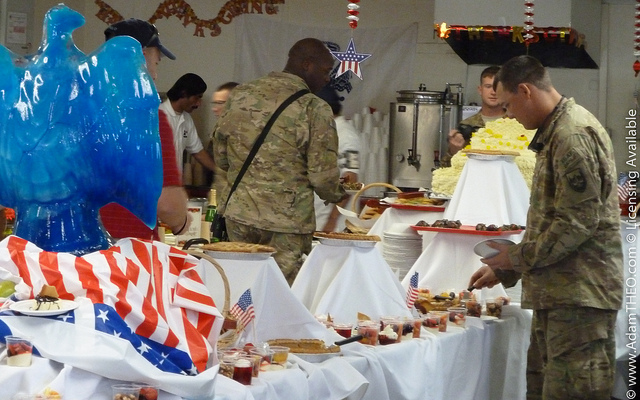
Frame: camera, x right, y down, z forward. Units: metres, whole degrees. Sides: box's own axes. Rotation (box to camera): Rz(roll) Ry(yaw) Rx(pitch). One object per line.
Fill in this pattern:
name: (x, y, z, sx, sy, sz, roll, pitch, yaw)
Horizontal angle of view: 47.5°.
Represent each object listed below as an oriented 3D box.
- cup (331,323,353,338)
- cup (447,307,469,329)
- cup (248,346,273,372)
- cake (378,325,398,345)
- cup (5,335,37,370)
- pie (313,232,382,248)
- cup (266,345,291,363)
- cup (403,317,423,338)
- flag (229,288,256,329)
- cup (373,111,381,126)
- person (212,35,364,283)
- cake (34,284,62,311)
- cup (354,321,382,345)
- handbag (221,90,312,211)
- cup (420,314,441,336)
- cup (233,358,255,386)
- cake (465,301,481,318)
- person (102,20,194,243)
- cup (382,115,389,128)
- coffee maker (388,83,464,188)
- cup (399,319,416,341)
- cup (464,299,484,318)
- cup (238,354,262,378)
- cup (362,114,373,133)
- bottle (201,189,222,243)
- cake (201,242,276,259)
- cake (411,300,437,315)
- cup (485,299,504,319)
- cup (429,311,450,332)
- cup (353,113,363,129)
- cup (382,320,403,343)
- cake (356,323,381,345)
cup: (0.110, 0.648, 3.589, 0.071, 0.042, 0.069, 0, 2, 0)
cup: (0.749, 0.642, 3.952, 0.101, 0.074, 0.096, 0, -2, 0)
cup: (-0.262, 0.700, 3.185, 0.102, 0.103, 0.094, 2, 1, 0)
cake: (0.333, 0.672, 3.588, 0.086, 0.080, 0.085, 2, -4, -29)
cup: (-1.114, 0.570, 2.695, 0.114, 0.098, 0.111, 5, 1, 0)
pie: (0.144, 0.221, 3.921, 0.355, 0.077, 0.166, 0, 4, 2)
cup: (-0.178, 0.685, 3.201, 0.077, 0.052, 0.075, 1, -8, 0)
cup: (0.479, 0.657, 3.714, 0.101, 0.100, 0.099, 1, -4, 0)
flag: (-0.359, 0.488, 3.394, 0.016, 0.220, 0.179, -26, 58, -40)
cup: (0.649, -0.935, 8.253, 0.079, 0.134, 0.125, 0, 4, 4)
person: (-0.268, -0.058, 4.816, 0.860, 2.031, 0.732, 13, 22, 13)
cake: (-1.052, 0.378, 2.803, 0.103, 0.094, 0.101, 11, 8, 3)
cup: (0.236, 0.650, 3.544, 0.113, 0.105, 0.107, 0, 1, 0)
handbag: (-0.473, -0.151, 4.628, 0.174, 0.145, 1.248, -30, -12, -36)
cup: (0.587, 0.663, 3.837, 0.104, 0.077, 0.104, 0, -2, 0)
cup: (-0.322, 0.724, 3.043, 0.096, 0.098, 0.096, 2, 5, 0)
cake: (0.856, 0.620, 4.076, 0.084, 0.064, 0.088, 0, -5, -5)
person: (-0.822, -0.331, 3.411, 0.388, 1.165, 0.317, 11, -28, -37)
cup: (0.742, -0.891, 8.202, 0.071, 0.144, 0.259, 0, 4, 6)
coffee maker: (1.174, -0.754, 7.924, 0.588, 1.204, 0.724, 1, 11, 14)
cup: (0.446, 0.662, 3.685, 0.098, 0.121, 0.096, 0, 1, 0)
cup: (0.868, 0.616, 4.086, 0.101, 0.075, 0.097, 0, -3, 0)
cup: (-0.300, 0.701, 3.078, 0.093, 0.096, 0.097, 1, 0, 0)
cup: (0.528, -0.858, 8.091, 0.113, 0.211, 0.220, 0, 4, 2)
bottle: (-0.694, 0.123, 4.806, 0.137, 0.409, 0.135, -1, 14, 0)
cake: (-0.404, 0.250, 3.563, 0.333, 0.066, 0.172, 1, 4, 19)
cake: (0.561, 0.590, 3.978, 0.084, 0.030, 0.085, 5, 4, 42)
cup: (1.005, 0.634, 4.183, 0.105, 0.106, 0.077, -1, 4, -6)
cup: (0.643, 0.661, 3.902, 0.101, 0.081, 0.102, 1, -4, 0)
cup: (0.426, -0.892, 8.217, 0.106, 0.170, 0.198, 0, 4, 3)
cup: (0.376, 0.668, 3.687, 0.102, 0.110, 0.101, 0, -1, 0)
cake: (0.239, 0.654, 3.543, 0.100, 0.091, 0.088, 2, 2, 40)
